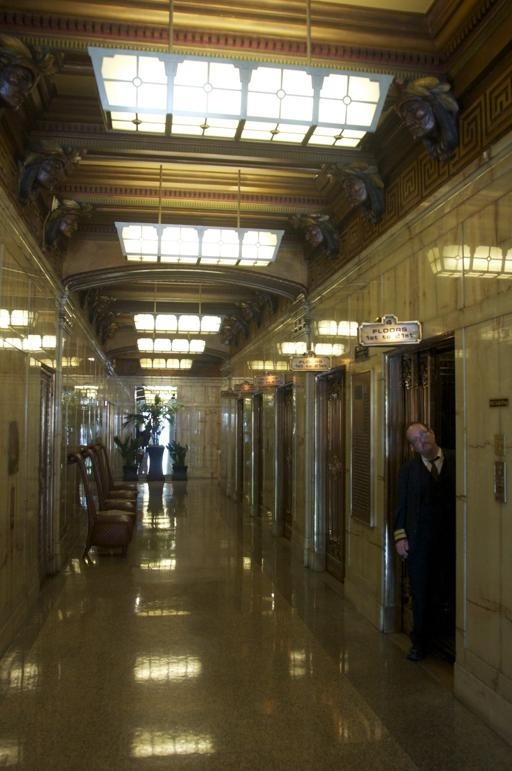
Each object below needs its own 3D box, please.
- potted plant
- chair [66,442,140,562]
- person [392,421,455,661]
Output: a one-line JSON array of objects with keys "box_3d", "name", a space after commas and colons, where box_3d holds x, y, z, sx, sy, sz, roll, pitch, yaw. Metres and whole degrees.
[{"box_3d": [-3.757, 1.717, 19.683, 2.862, 3.857, 2.449, 2, -14, -4], "name": "potted plant"}, {"box_3d": [-2.409, 1.823, 9.168, 0.690, 1.164, 2.260, -1, 2, -9], "name": "chair"}, {"box_3d": [1.169, 1.054, 3.986, 0.444, 1.601, 0.286, 2, -3, -27], "name": "person"}]
